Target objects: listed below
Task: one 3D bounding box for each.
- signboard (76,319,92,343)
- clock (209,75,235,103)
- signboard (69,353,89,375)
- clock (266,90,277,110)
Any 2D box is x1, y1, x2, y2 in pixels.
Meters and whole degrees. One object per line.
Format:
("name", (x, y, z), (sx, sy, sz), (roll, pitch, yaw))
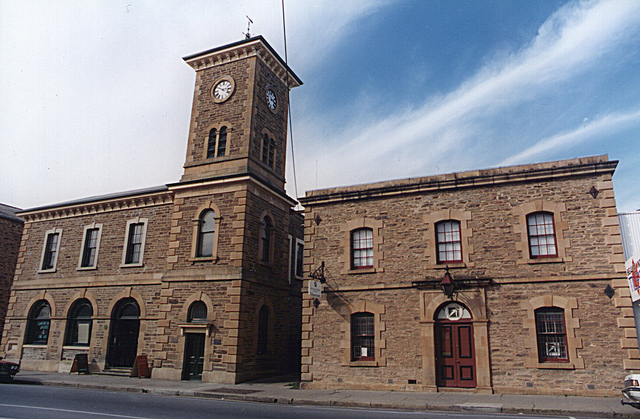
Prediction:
("signboard", (-15.594, 7.918, 31.150), (1.324, 1.471, 0.304), (-14, -24, 32))
("clock", (-6.535, -8.002, 31.814), (1.995, 1.907, 0.225), (-6, -14, 15))
("signboard", (-14.666, 9.402, 29.046), (1.102, 1.515, 1.080), (-8, -19, 41))
("clock", (-3.420, -7.563, 32.981), (0.039, 1.555, 1.612), (-13, -11, 19))
